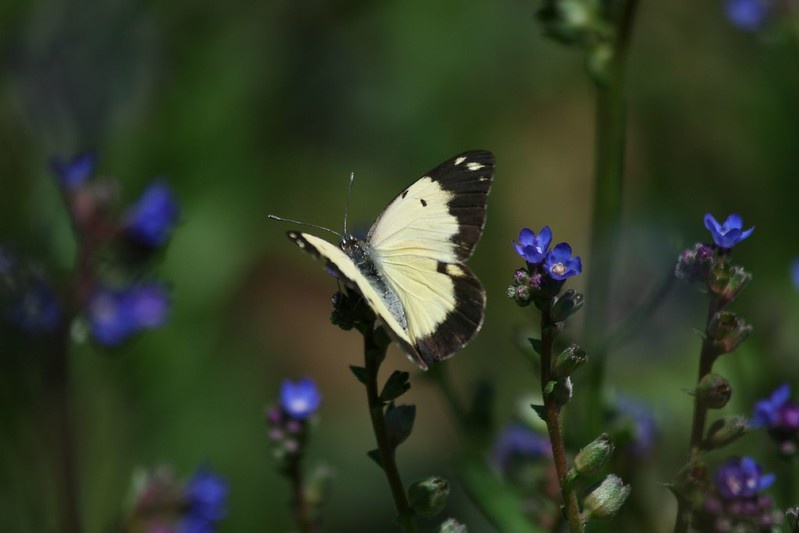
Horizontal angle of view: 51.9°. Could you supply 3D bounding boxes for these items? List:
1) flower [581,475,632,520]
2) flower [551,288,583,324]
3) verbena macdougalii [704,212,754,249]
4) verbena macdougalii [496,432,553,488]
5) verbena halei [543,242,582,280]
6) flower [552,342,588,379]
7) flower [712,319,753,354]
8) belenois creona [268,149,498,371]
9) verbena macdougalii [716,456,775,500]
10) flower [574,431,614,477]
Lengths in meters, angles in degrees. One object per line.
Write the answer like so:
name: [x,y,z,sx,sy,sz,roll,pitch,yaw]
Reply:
flower: [0.743,0.830,2.995,0.138,0.173,0.093,-2,-2,2]
flower: [0.581,0.150,2.934,0.133,0.087,0.054,-28,-42,-12]
verbena macdougalii: [1.255,-0.141,3.134,0.147,0.101,0.156,9,7,-19]
verbena macdougalii: [0.527,0.796,3.485,0.196,0.232,0.147,-13,17,-23]
verbena halei: [0.578,-0.012,2.998,0.172,0.087,0.194,2,-19,29]
flower: [0.602,0.335,2.943,0.133,0.049,0.092,-58,-9,34]
flower: [1.261,0.238,3.084,0.145,0.068,0.151,14,9,-13]
belenois creona: [0.098,-0.053,3.476,0.758,0.978,1.105,-22,24,-16]
verbena macdougalii: [1.308,0.803,3.141,0.216,0.155,0.086,-2,-19,6]
flower: [0.688,0.673,2.961,0.168,0.105,0.060,-45,1,1]
